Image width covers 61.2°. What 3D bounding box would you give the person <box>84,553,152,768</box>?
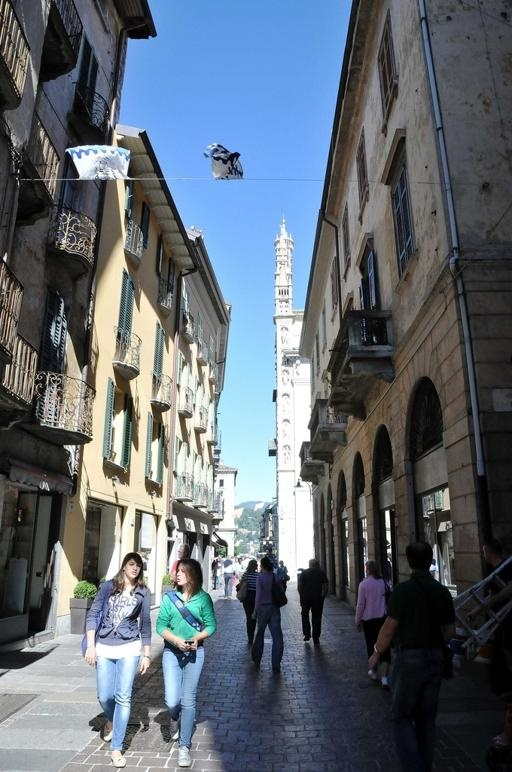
[{"bbox_3d":[-0.962,1.828,3.035,0.461,1.256,0.474,-3,-16,11],"label":"person"}]

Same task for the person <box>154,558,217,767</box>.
[{"bbox_3d":[-0.522,1.942,3.138,0.425,1.316,0.742,2,-16,-7],"label":"person"}]

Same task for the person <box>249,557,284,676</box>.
[{"bbox_3d":[0.173,3.909,7.311,0.557,1.492,0.826,-4,-17,14],"label":"person"}]

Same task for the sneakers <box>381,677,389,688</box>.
[{"bbox_3d":[1.598,3.654,5.372,0.051,0.085,0.158,0,-16,2],"label":"sneakers"}]

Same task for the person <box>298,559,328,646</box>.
[{"bbox_3d":[1.205,4.527,9.374,0.453,1.993,0.426,4,9,24],"label":"person"}]
